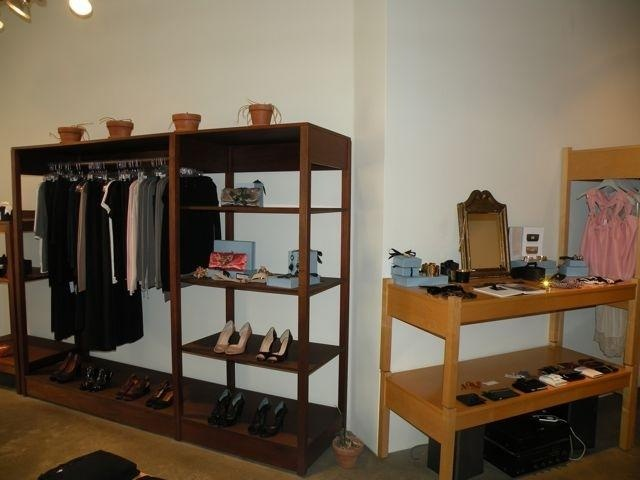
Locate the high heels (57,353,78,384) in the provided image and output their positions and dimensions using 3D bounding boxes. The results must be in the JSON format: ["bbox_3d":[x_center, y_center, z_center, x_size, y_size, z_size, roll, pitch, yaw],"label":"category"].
[{"bbox_3d":[-2.218,1.140,4.575,0.141,0.103,0.264,6,25,22],"label":"high heels"}]

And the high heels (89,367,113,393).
[{"bbox_3d":[-1.893,1.232,4.439,0.104,0.114,0.179,2,-6,-2],"label":"high heels"}]

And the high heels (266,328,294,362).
[{"bbox_3d":[-0.315,0.825,4.033,0.164,0.178,0.414,0,4,0],"label":"high heels"}]

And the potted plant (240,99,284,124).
[{"bbox_3d":[-0.503,-0.995,4.005,0.221,0.181,0.373,-5,5,-36],"label":"potted plant"}]

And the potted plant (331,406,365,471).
[{"bbox_3d":[0.204,1.561,3.916,0.230,0.355,0.252,0,1,6],"label":"potted plant"}]

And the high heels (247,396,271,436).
[{"bbox_3d":[-0.462,1.369,4.056,0.137,0.099,0.446,-12,4,3],"label":"high heels"}]

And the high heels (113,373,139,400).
[{"bbox_3d":[-1.621,1.243,4.305,0.084,0.070,0.251,-4,11,11],"label":"high heels"}]

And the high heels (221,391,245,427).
[{"bbox_3d":[-0.684,1.336,4.031,0.145,0.179,0.296,-1,4,-5],"label":"high heels"}]

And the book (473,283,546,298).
[{"bbox_3d":[1.358,0.365,3.702,0.536,0.047,0.287,-2,4,-21],"label":"book"}]

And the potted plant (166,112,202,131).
[{"bbox_3d":[-1.067,-0.936,4.061,0.194,0.122,0.192,-4,8,-37],"label":"potted plant"}]

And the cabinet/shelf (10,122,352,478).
[{"bbox_3d":[-1.061,0.509,4.176,2.408,2.145,0.758,6,12,27],"label":"cabinet/shelf"}]

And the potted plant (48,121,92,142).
[{"bbox_3d":[-2.321,-0.971,4.663,0.462,0.207,0.332,6,11,31],"label":"potted plant"}]

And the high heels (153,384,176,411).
[{"bbox_3d":[-1.271,1.280,4.209,0.157,0.083,0.228,0,12,20],"label":"high heels"}]

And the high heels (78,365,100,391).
[{"bbox_3d":[-2.014,1.218,4.451,0.126,0.249,0.133,6,-2,22],"label":"high heels"}]

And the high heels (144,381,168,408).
[{"bbox_3d":[-1.333,1.276,4.195,0.097,0.073,0.182,-11,21,30],"label":"high heels"}]
